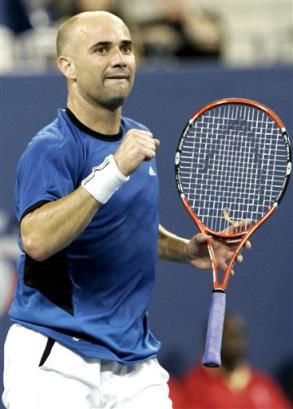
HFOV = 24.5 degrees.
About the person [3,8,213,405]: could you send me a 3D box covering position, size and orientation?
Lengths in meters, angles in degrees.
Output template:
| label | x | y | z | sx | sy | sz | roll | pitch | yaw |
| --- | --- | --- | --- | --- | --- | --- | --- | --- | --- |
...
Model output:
| label | x | y | z | sx | sy | sz | roll | pitch | yaw |
| --- | --- | --- | --- | --- | --- | --- | --- | --- | --- |
| person | -0.161 | 0.012 | 2.701 | 0.669 | 1.487 | 0.984 | 3 | 17 | 5 |
